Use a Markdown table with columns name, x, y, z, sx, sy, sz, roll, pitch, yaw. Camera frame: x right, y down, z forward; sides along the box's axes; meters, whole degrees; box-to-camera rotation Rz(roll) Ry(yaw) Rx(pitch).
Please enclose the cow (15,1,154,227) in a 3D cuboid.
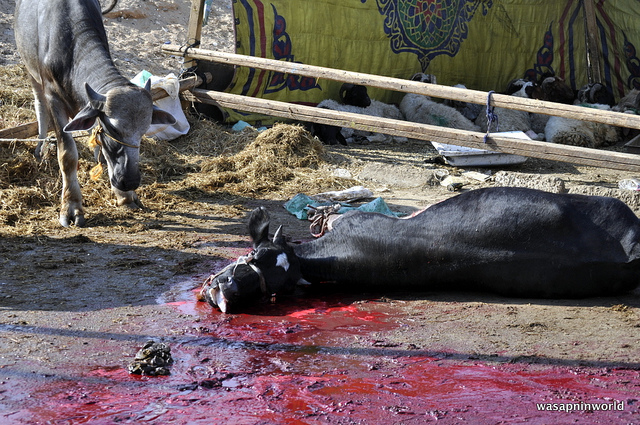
| name | x | y | z | sx | sy | sz | roll | pitch | yaw |
| --- | --- | --- | --- | --- | --- | --- | --- | --- | --- |
| cow | -2.808 | -1.225 | 12.414 | 1.048 | 2.588 | 1.901 | -7 | 17 | -32 |
